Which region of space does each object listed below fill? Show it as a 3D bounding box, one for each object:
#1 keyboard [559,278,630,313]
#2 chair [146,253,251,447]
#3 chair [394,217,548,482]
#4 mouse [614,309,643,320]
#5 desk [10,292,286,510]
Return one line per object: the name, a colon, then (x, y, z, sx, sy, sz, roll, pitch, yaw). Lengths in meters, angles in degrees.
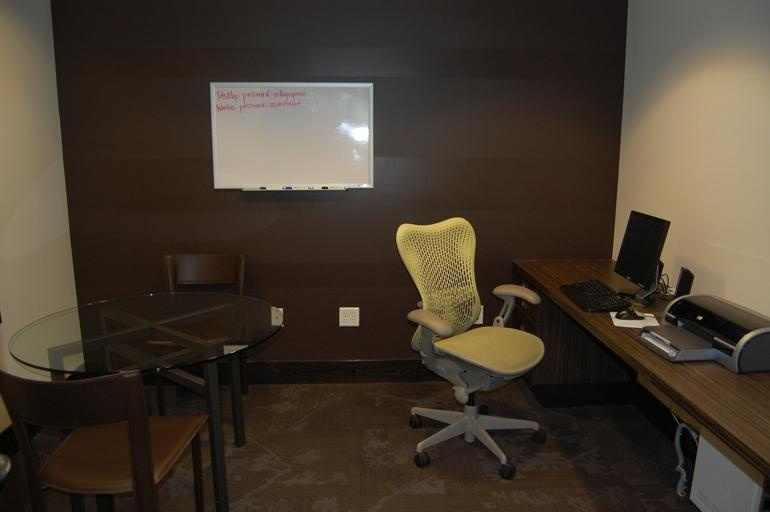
keyboard: (1.340, 0.267, 3.637, 0.196, 0.052, 0.285, -4, 17, -10)
chair: (-1.321, 0.607, 4.131, 0.752, 1.095, 0.750, 5, 15, 10)
chair: (0.610, 0.595, 3.857, 1.073, 1.518, 1.039, -6, 13, -29)
mouse: (1.478, 0.358, 3.415, 0.101, 0.035, 0.073, -1, 14, -5)
desk: (-1.543, 0.724, 3.656, 1.373, 0.915, 1.378, -8, 20, -28)
